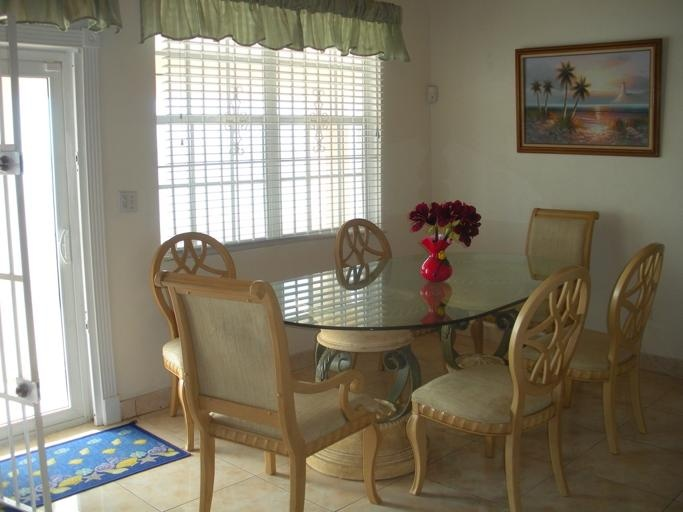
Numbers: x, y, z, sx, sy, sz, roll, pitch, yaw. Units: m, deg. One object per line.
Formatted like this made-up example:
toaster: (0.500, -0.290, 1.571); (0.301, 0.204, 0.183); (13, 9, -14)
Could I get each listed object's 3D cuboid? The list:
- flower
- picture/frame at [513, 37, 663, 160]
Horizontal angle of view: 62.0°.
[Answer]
flower: (0.592, -0.199, 3.276); (0.339, 0.265, 0.343); (1, 4, 23)
picture/frame: (1.846, -1.180, 4.180); (0.897, 0.747, 0.042); (6, 13, 37)
